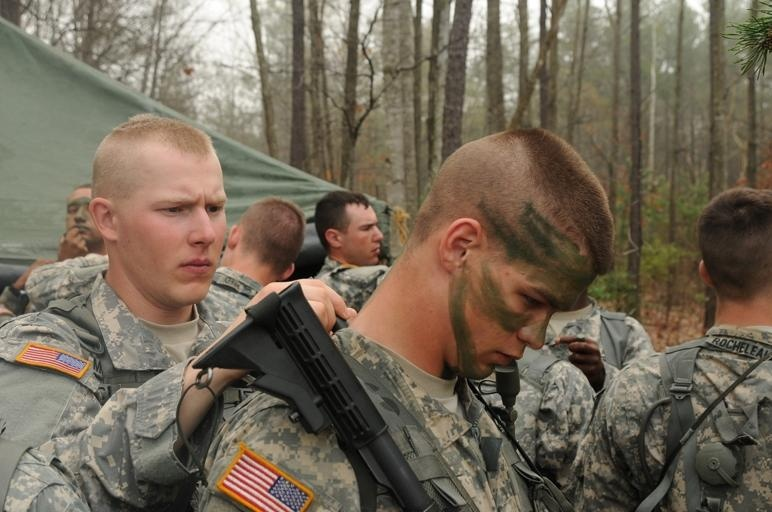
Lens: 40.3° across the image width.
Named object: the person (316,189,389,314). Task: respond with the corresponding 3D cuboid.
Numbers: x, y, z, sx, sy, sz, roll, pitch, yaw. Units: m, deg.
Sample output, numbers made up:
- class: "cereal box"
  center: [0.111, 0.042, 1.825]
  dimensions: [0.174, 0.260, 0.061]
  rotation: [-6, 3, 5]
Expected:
- class: "person"
  center: [-0.459, -0.056, 12.418]
  dimensions: [0.756, 1.306, 1.556]
  rotation: [-7, -9, 6]
